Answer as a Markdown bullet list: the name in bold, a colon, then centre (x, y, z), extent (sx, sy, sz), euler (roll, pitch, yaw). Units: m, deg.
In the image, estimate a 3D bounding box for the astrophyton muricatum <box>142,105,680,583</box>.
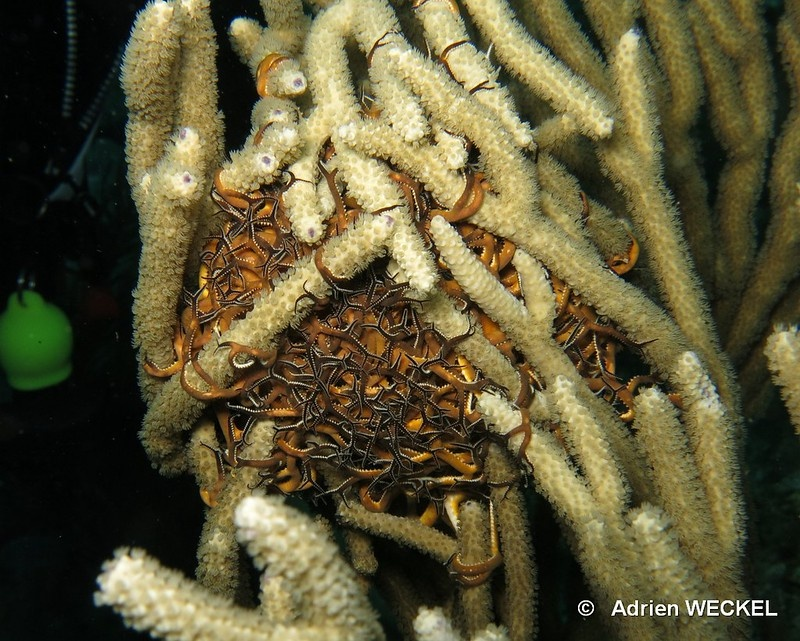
- **astrophyton muricatum**: centre (0.046, 0.067, 4.463), extent (1.610, 0.661, 1.965), euler (6, 93, 1)
